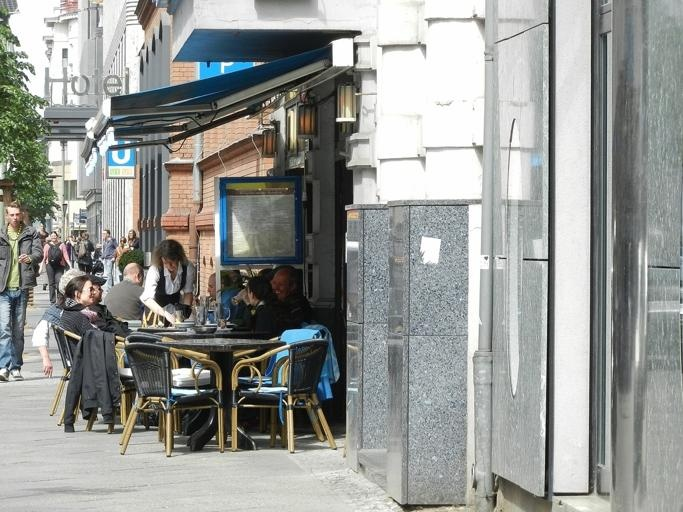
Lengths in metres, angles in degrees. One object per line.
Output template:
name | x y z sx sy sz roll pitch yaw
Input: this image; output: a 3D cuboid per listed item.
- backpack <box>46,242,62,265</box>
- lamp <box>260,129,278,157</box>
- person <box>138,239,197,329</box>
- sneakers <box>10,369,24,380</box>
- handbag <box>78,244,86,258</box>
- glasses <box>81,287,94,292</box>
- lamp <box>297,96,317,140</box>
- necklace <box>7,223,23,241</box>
backpack | -5.723 -0.055 25.040 0.301 0.416 0.623 2 -4 -14
lamp | -0.981 -1.552 17.024 0.182 0.351 0.219 1 -3 -8
person | -1.962 0.483 14.340 0.548 1.428 0.958 3 25 -5
sneakers | -4.324 1.562 16.708 0.094 0.121 0.288 0 -3 -22
handbag | -7.413 -0.188 35.834 0.243 0.503 0.618 1 -4 -12
glasses | -2.580 0.324 12.748 0.108 0.062 0.053 1 -3 -8
lamp | -0.397 -1.597 14.299 0.223 0.449 0.194 1 -3 -2
necklace | -4.356 -0.330 16.638 0.149 0.221 0.097 5 -7 -3
